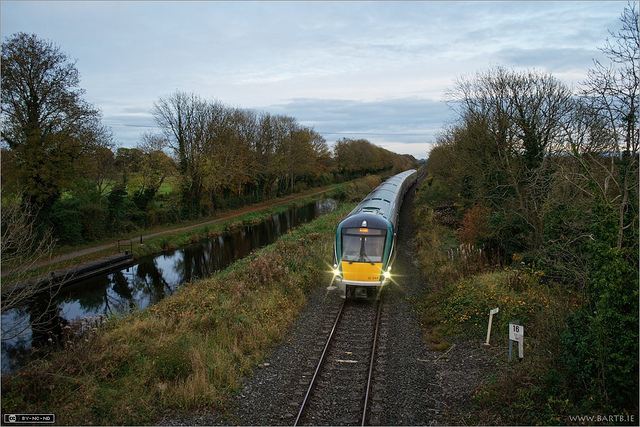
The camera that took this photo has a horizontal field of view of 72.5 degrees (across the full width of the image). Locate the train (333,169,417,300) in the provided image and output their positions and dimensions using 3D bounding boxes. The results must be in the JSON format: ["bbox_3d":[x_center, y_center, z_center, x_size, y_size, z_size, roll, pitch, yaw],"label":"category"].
[{"bbox_3d":[3.584,0.768,28.512,1.898,3.289,21.862,-3,8,9],"label":"train"}]
